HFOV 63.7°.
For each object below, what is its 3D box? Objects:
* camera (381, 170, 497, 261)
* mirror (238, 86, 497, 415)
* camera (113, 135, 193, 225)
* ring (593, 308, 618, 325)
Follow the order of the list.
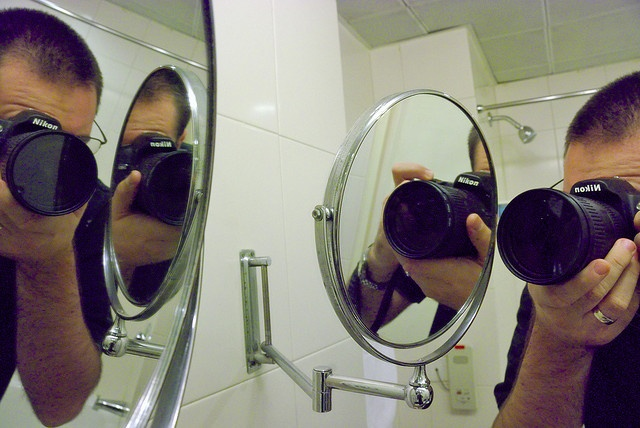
[{"bbox_3d":[0.159,0.009,0.751,0.146,0.125,0.080,2,-13,-35],"label":"camera"},{"bbox_3d":[0.021,0.072,0.838,0.354,0.481,0.372,-4,-4,41],"label":"mirror"},{"bbox_3d":[-0.201,-0.045,0.638,0.097,0.093,0.101,3,4,-39],"label":"camera"},{"bbox_3d":[0.432,0.157,0.788,0.030,0.029,0.032,1,0,0],"label":"ring"}]
